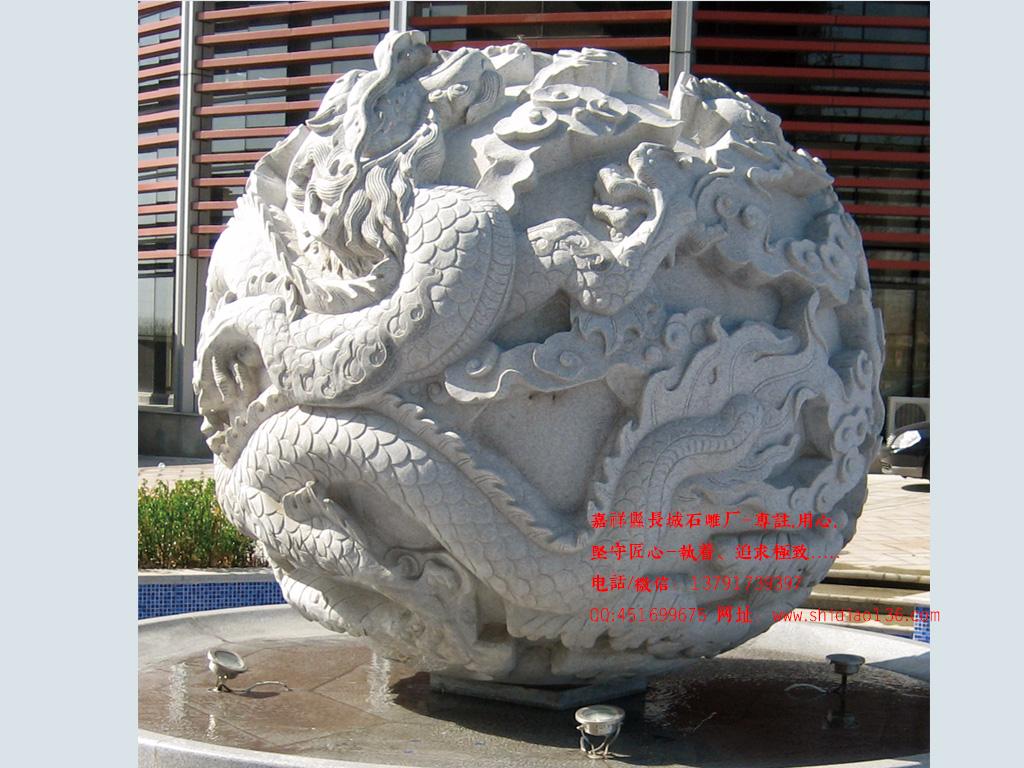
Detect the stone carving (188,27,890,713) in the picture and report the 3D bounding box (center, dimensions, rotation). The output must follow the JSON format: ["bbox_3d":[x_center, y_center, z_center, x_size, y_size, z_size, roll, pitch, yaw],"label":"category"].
[{"bbox_3d":[0.434,-0.719,15.210,5.495,4.384,5.078,-1,18,20],"label":"stone carving"}]
